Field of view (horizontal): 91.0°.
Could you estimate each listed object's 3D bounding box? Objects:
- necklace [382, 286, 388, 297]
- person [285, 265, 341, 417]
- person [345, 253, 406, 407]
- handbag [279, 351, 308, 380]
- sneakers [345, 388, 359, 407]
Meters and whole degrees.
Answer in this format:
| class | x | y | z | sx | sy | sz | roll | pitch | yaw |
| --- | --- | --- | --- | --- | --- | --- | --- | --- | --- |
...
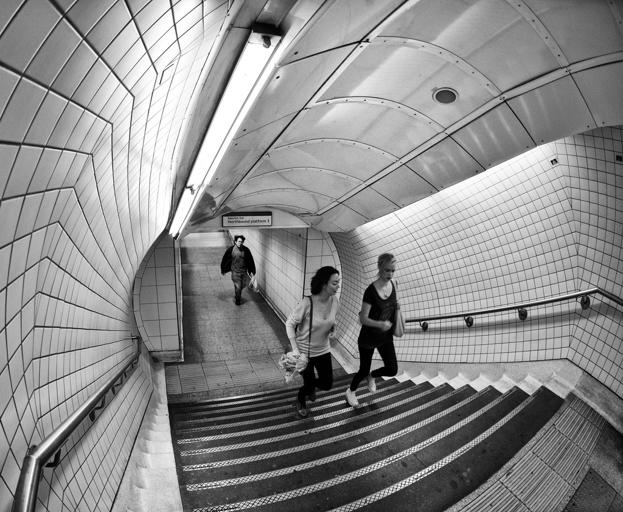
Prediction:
| class | x | y | z | sx | sy | sz | roll | pitch | yaw |
| --- | --- | --- | --- | --- | --- | --- | --- | --- | --- |
| necklace | 0.944 | 0.462 | 3.886 | 0.080 | 0.118 | 0.028 | -11 | 4 | -32 |
| person | 0.062 | 1.140 | 3.887 | 0.553 | 2.099 | 0.867 | 11 | 13 | 31 |
| person | 0.863 | 1.024 | 4.036 | 0.883 | 1.975 | 0.706 | -10 | -7 | 31 |
| handbag | -0.203 | 1.310 | 3.705 | 0.354 | 0.293 | 0.241 | -6 | -6 | -7 |
| sneakers | 0.573 | 1.973 | 4.254 | 0.108 | 0.128 | 0.289 | 2 | 2 | -15 |
